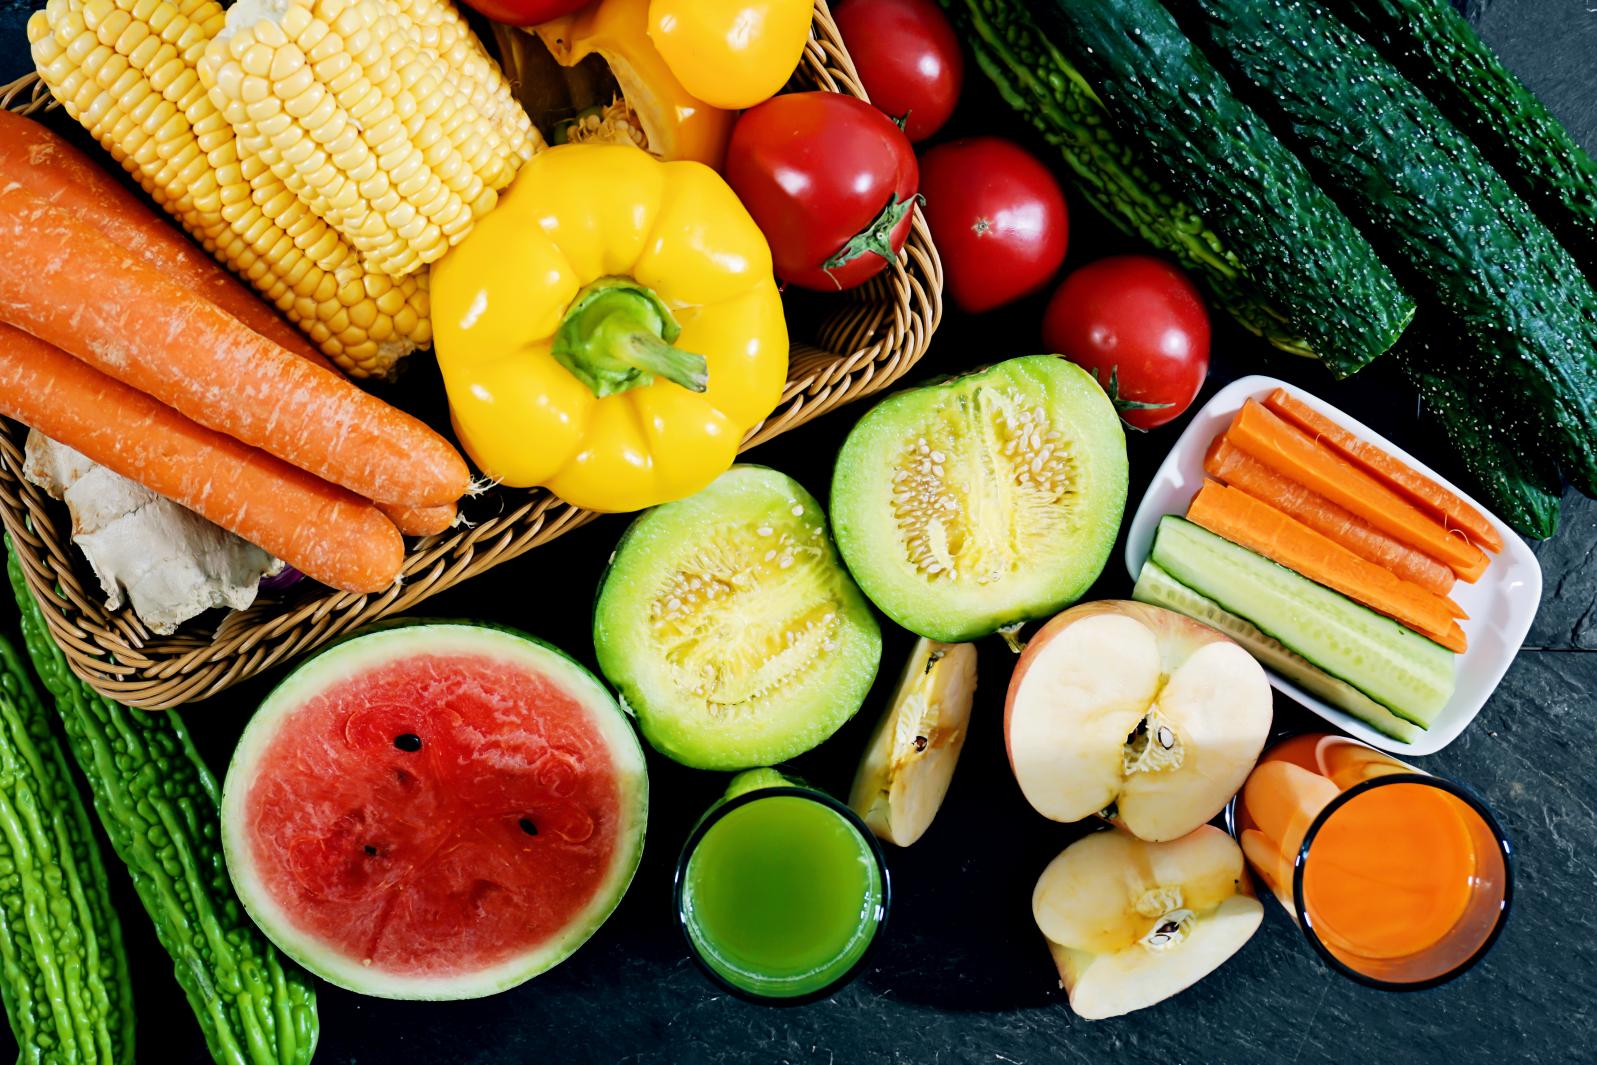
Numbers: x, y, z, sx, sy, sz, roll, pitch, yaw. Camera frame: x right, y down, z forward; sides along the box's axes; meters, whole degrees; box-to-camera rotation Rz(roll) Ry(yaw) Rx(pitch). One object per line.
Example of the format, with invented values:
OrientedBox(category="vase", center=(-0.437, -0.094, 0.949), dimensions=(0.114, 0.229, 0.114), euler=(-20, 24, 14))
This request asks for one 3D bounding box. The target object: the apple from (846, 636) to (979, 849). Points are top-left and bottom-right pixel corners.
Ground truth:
OrientedBox(category="apple", center=(0.151, 0.260, 1.906), dimensions=(0.126, 0.099, 0.302), euler=(20, 103, 17))

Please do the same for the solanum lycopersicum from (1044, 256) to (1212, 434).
OrientedBox(category="solanum lycopersicum", center=(0.440, -0.249, 1.931), dimensions=(0.181, 0.200, 0.212), euler=(7, 65, 28))

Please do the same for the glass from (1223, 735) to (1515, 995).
OrientedBox(category="glass", center=(0.680, 0.367, 1.867), dimensions=(0.198, 0.277, 0.336), euler=(-25, 86, 4))

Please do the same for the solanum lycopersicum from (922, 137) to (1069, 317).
OrientedBox(category="solanum lycopersicum", center=(0.239, -0.397, 1.918), dimensions=(0.177, 0.195, 0.191), euler=(-30, 20, 25))
